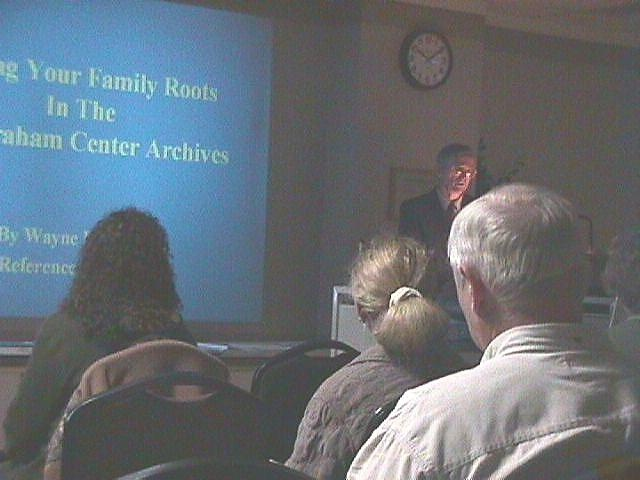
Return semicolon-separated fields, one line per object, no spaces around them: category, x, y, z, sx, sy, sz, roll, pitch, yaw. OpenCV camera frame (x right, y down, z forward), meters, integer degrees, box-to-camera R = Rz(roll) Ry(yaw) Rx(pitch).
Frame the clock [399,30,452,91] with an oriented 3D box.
clock;0.516;-0.860;4.343;0.259;0.275;0.062;1;6;-17
